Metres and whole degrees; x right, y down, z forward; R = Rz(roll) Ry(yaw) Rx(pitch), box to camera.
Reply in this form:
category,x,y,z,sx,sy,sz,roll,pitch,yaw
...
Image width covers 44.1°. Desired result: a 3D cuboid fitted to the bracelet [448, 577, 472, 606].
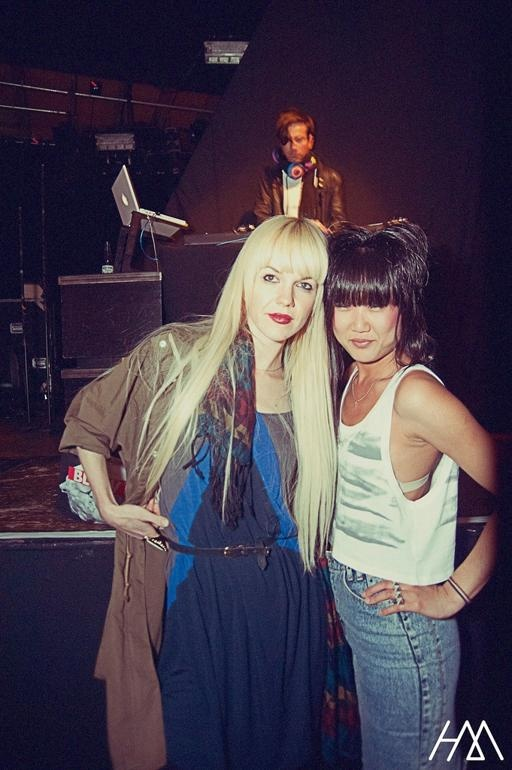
category,x,y,z,sx,sy,sz,roll,pitch,yaw
bracelet,0.499,0.509,1.560,0.015,0.059,0.061,-37,18,-4

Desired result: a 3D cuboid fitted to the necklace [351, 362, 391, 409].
category,x,y,z,sx,sy,sz,roll,pitch,yaw
necklace,0.284,-0.006,1.664,0.024,0.105,0.071,-2,24,-42

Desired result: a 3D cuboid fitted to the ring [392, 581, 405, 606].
category,x,y,z,sx,sy,sz,roll,pitch,yaw
ring,0.340,0.506,1.519,0.025,0.052,0.009,1,4,5
